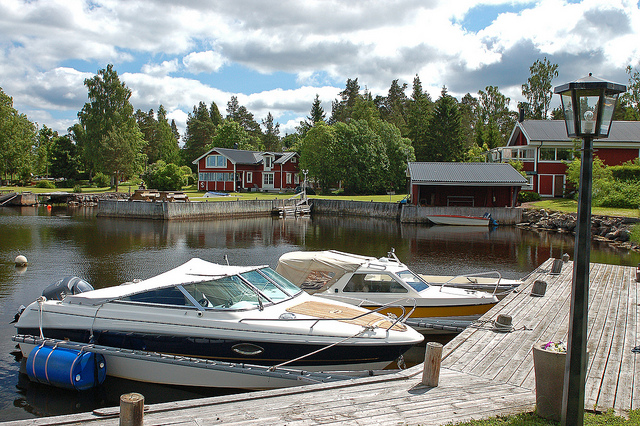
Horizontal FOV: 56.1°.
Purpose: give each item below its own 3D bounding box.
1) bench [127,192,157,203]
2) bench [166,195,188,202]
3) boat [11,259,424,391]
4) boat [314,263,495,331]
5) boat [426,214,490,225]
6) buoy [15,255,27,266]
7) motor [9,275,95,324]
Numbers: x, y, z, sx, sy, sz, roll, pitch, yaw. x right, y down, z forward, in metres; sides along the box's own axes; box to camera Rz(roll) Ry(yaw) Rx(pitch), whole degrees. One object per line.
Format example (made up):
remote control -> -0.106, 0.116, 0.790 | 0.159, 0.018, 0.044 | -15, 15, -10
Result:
bench -> -15.662, -1.482, 52.848 | 2.454, 0.792, 2.143 | -2, 3, -4
bench -> -12.878, -1.351, 53.556 | 1.117, 0.588, 2.337 | 1, 4, 34
boat -> -3.070, 3.488, 17.686 | 9.558, 3.276, 4.906 | 2, 4, 9
boat -> 3.091, 2.944, 20.677 | 6.973, 2.533, 2.360 | 0, 9, 0
boat -> 10.985, 0.549, 47.768 | 4.823, 0.910, 1.422 | 2, -3, 17
buoy -> -14.361, 2.277, 28.792 | 0.457, 0.472, 0.476 | 2, 1, 27
motor -> -8.276, 2.599, 18.854 | 2.551, 0.941, 0.797 | 1, 11, -3
